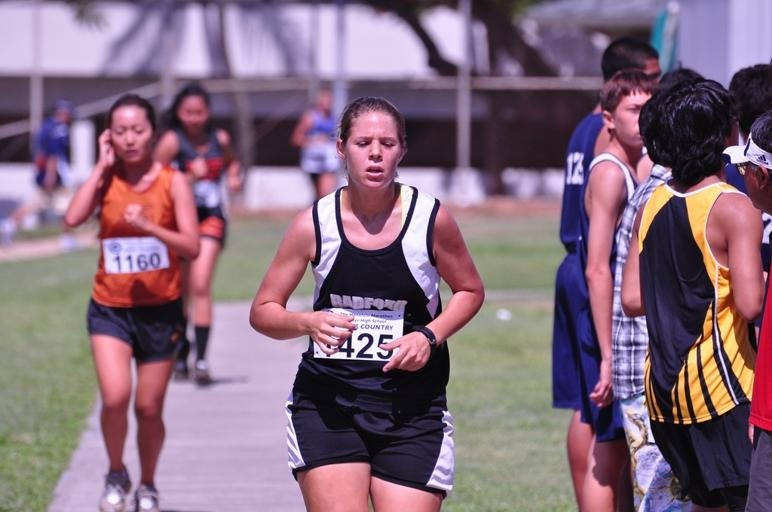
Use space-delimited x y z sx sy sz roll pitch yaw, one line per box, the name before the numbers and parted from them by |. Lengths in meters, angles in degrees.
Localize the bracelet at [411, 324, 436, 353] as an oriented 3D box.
bracelet | 0.193 0.378 4.794 0.084 0.122 0.129 -35 47 -19
